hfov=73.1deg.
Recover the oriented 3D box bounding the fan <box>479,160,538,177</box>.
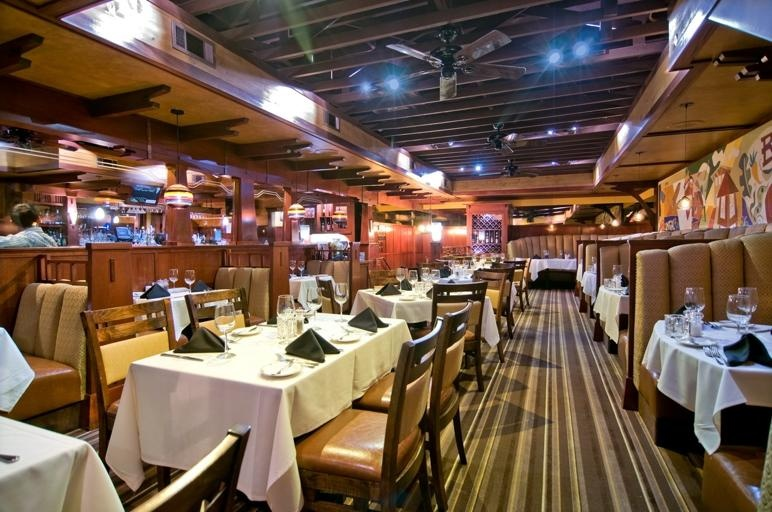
[{"bbox_3d":[3.040,-1.993,11.931,0.794,0.317,0.868,-8,11,-39],"label":"fan"}]

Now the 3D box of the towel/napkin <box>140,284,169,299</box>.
[{"bbox_3d":[-2.882,0.445,6.423,0.286,0.129,0.305,0,-1,14],"label":"towel/napkin"}]

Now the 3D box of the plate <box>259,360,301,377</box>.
[{"bbox_3d":[-0.840,0.911,4.186,0.283,0.102,0.240,0,0,24],"label":"plate"}]

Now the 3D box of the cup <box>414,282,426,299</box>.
[{"bbox_3d":[0.437,0.425,6.601,0.173,0.305,0.170,-1,-1,0],"label":"cup"}]

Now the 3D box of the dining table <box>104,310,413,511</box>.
[{"bbox_3d":[-1.242,1.239,4.385,1.530,0.697,1.924,0,-1,22],"label":"dining table"}]

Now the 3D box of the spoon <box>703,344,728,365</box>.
[{"bbox_3d":[2.806,0.823,4.391,0.066,0.054,0.377,-5,15,28],"label":"spoon"}]

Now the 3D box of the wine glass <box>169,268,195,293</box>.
[{"bbox_3d":[-2.902,0.332,7.322,0.324,0.284,0.107,1,2,17],"label":"wine glass"}]

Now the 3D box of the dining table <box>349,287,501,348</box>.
[{"bbox_3d":[0.864,0.800,6.769,1.657,0.568,1.601,-2,-5,1],"label":"dining table"}]

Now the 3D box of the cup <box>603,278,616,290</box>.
[{"bbox_3d":[3.241,0.393,7.458,0.159,0.105,0.158,1,0,0],"label":"cup"}]

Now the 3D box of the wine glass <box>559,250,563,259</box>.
[{"bbox_3d":[5.376,-0.068,15.775,0.169,0.271,0.174,-2,-1,13],"label":"wine glass"}]

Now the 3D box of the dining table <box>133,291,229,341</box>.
[{"bbox_3d":[-2.450,0.663,6.276,0.875,0.540,1.109,0,0,21],"label":"dining table"}]

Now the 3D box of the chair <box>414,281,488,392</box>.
[{"bbox_3d":[0.759,0.912,6.350,0.801,1.229,0.826,0,3,-25],"label":"chair"}]

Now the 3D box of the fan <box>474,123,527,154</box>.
[{"bbox_3d":[2.207,-2.119,9.409,0.560,0.275,0.624,-4,4,-15],"label":"fan"}]

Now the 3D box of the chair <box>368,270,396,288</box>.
[{"bbox_3d":[-0.064,0.327,7.857,0.268,0.456,0.321,2,3,13],"label":"chair"}]

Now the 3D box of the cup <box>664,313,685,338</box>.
[{"bbox_3d":[2.668,0.642,4.756,0.191,0.252,0.189,0,-3,0],"label":"cup"}]

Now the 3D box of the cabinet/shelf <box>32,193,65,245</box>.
[{"bbox_3d":[-7.666,-0.696,11.684,0.613,1.092,0.352,-3,-6,-42],"label":"cabinet/shelf"}]

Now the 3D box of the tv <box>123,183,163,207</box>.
[{"bbox_3d":[-5.660,-1.444,12.091,0.357,0.455,0.834,0,0,15],"label":"tv"}]

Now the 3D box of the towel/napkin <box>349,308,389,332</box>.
[{"bbox_3d":[-0.163,0.597,4.950,0.293,0.134,0.227,-2,-5,35],"label":"towel/napkin"}]

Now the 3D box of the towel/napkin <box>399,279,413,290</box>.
[{"bbox_3d":[0.276,0.381,7.080,0.137,0.154,0.149,-4,-4,27],"label":"towel/napkin"}]

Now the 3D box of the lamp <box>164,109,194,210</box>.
[{"bbox_3d":[-3.157,-1.391,7.792,0.367,1.303,1.246,0,0,-23],"label":"lamp"}]

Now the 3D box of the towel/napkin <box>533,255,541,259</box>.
[{"bbox_3d":[4.700,0.014,16.026,0.180,0.085,0.181,1,-3,-44],"label":"towel/napkin"}]
